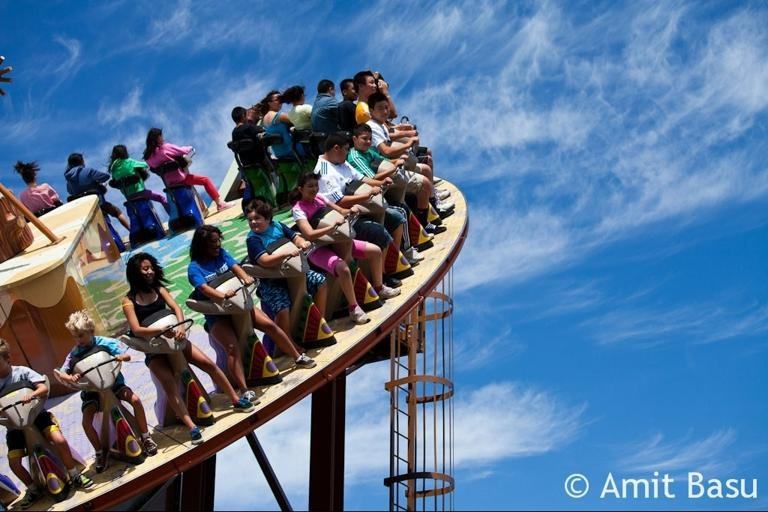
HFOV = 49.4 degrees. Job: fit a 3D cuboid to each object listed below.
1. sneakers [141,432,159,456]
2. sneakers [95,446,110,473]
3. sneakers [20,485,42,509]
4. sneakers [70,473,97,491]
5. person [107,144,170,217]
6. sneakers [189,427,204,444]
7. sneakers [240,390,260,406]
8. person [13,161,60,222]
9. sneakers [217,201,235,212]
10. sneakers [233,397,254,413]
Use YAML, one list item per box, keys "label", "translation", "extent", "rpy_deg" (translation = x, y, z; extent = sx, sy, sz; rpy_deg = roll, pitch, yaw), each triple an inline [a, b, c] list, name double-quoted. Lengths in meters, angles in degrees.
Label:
- label: "sneakers"
  translation: [-2.724, 2.180, 9.742]
  extent: [0.111, 0.318, 0.131]
  rpy_deg: [-16, -33, -20]
- label: "sneakers"
  translation: [-3.252, 2.348, 9.702]
  extent: [0.100, 0.345, 0.129]
  rpy_deg: [0, -24, 0]
- label: "sneakers"
  translation: [-4.020, 2.725, 9.522]
  extent: [0.120, 0.175, 0.355]
  rpy_deg: [-4, 13, 8]
- label: "sneakers"
  translation: [-3.424, 2.563, 9.522]
  extent: [0.327, 0.161, 0.126]
  rpy_deg: [3, 7, 37]
- label: "person"
  translation: [-4.667, -1.540, 16.545]
  extent: [1.019, 0.871, 2.003]
  rpy_deg: [-10, -28, -38]
- label: "sneakers"
  translation: [-2.170, 2.068, 9.672]
  extent: [0.088, 0.123, 0.248]
  rpy_deg: [-3, 4, 3]
- label: "sneakers"
  translation: [-1.596, 1.693, 10.070]
  extent: [0.117, 0.114, 0.236]
  rpy_deg: [-19, 22, -36]
- label: "person"
  translation: [-6.420, -1.274, 15.488]
  extent: [0.651, 1.008, 0.878]
  rpy_deg: [-16, 8, -22]
- label: "sneakers"
  translation: [-3.385, -1.087, 18.053]
  extent: [0.133, 0.165, 0.380]
  rpy_deg: [8, 22, 43]
- label: "sneakers"
  translation: [-1.685, 1.758, 10.048]
  extent: [0.272, 0.133, 0.130]
  rpy_deg: [3, 15, 45]
